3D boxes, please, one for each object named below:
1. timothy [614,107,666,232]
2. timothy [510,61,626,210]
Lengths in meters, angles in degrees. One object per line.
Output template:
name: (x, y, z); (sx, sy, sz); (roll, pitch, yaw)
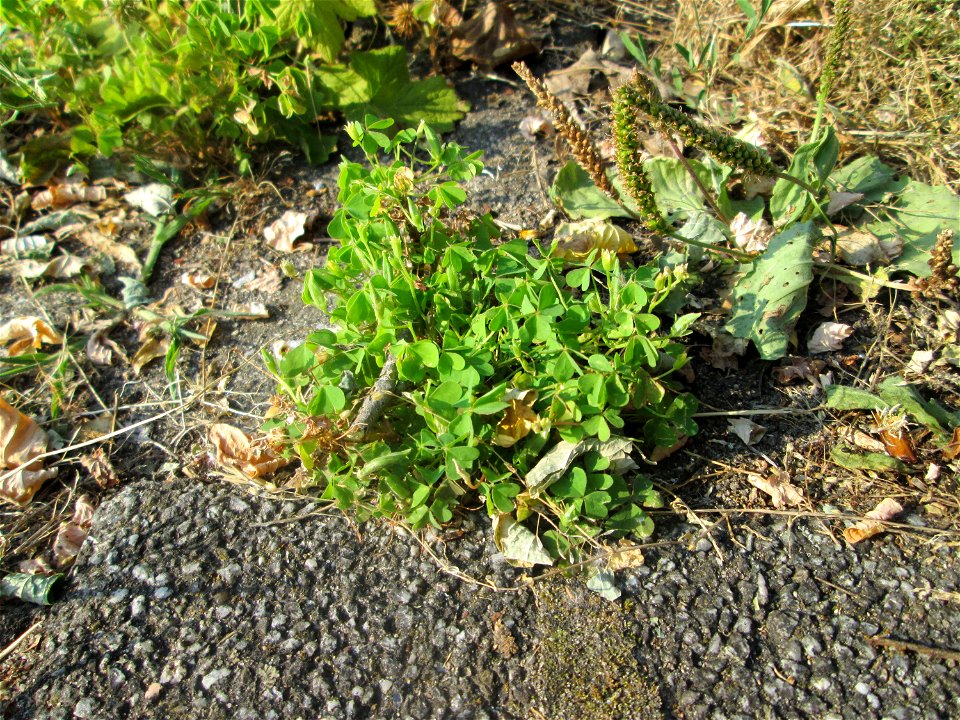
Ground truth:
timothy: (0.608, -0.697, 2.899); (0.204, 0.686, 0.292); (1, 57, 10)
timothy: (0.379, -0.922, 3.124); (0.398, 0.739, 0.621); (-7, 56, 5)
